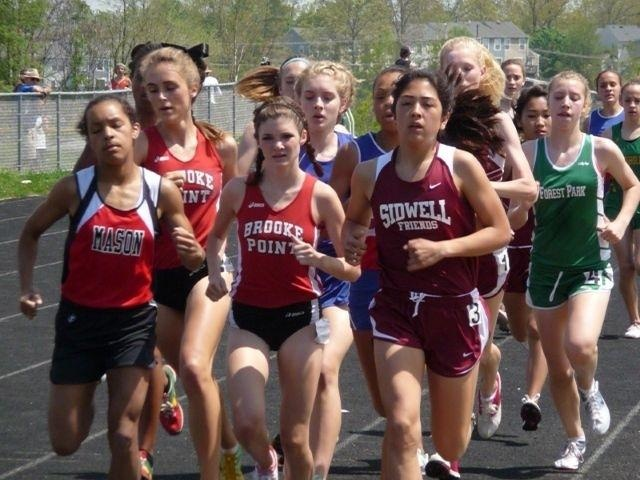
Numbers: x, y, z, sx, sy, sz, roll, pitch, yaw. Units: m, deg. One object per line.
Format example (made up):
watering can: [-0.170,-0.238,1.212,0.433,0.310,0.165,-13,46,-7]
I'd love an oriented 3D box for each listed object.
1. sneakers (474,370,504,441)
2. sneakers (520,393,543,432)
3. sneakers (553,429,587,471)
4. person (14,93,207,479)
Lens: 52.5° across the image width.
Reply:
sneakers: [1.323,1.307,5.050,0.158,0.523,0.194,7,7,22]
sneakers: [1.606,1.359,4.964,0.117,0.371,0.158,2,36,12]
sneakers: [1.736,1.472,4.500,0.121,0.144,0.321,-3,1,34]
person: [-1.196,0.253,3.629,0.922,2.087,0.658,0,8,-13]
